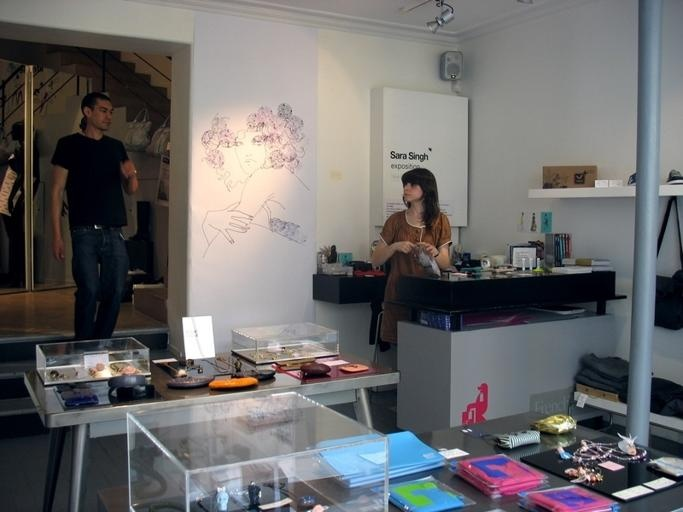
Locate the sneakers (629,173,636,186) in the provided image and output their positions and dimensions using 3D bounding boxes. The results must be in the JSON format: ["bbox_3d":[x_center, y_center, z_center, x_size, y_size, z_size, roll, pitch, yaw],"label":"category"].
[{"bbox_3d":[2.405,-0.634,4.398,0.047,0.091,0.605,1,8,26],"label":"sneakers"}]

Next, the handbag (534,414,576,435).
[{"bbox_3d":[0.909,0.716,2.268,0.104,0.045,0.098,-2,-4,-14],"label":"handbag"}]

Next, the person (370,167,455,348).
[{"bbox_3d":[0.654,0.072,4.957,0.754,1.753,0.826,-2,7,6],"label":"person"}]

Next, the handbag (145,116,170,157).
[{"bbox_3d":[-2.421,-1.567,7.091,0.269,0.442,0.915,-5,8,-24],"label":"handbag"}]

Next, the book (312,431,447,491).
[{"bbox_3d":[0.150,0.648,1.620,0.348,0.063,0.274,-2,5,-26],"label":"book"}]

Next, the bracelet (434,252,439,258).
[{"bbox_3d":[0.881,-0.004,4.914,0.022,0.039,0.130,1,8,25],"label":"bracelet"}]

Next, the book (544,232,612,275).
[{"bbox_3d":[2.080,0.002,4.858,0.418,0.271,0.424,2,4,43],"label":"book"}]

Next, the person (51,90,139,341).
[{"bbox_3d":[-2.268,-0.373,4.932,0.745,2.296,0.576,-6,7,-29],"label":"person"}]

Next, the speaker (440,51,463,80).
[{"bbox_3d":[1.237,-2.147,5.992,0.289,0.397,0.126,-2,5,-24],"label":"speaker"}]
